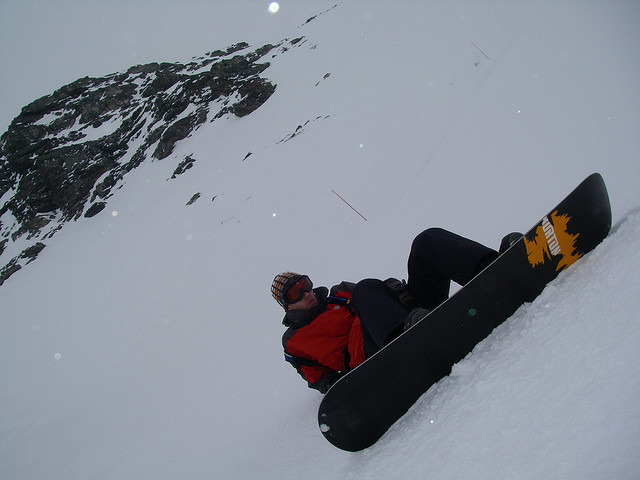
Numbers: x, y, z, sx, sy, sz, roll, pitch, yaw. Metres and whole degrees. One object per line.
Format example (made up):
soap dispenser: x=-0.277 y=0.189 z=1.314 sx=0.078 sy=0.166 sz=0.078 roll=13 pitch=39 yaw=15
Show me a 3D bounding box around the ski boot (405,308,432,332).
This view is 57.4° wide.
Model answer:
ski boot: x=1.546 y=1.247 z=9.327 sx=0.257 sy=0.109 sz=0.419 roll=42 pitch=96 yaw=31
